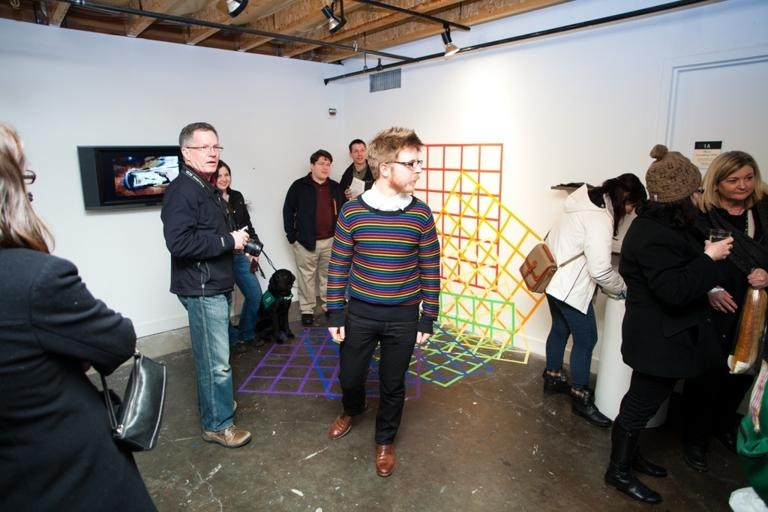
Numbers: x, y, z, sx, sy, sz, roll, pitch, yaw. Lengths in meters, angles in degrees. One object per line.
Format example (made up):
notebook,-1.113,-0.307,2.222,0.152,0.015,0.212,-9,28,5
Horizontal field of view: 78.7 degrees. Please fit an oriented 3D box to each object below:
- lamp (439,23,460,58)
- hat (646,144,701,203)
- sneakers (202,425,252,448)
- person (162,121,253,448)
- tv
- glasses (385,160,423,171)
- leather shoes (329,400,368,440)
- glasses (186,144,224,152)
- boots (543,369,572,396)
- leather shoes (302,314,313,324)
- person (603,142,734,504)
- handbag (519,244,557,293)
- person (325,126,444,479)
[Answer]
lamp,0.658,-2.145,4.677,0.147,0.362,0.642,0,14,9
hat,1.714,-0.460,2.790,0.268,0.288,0.154,8,17,34
sneakers,-1.181,1.361,3.495,0.295,0.141,0.156,2,10,-6
person,-1.251,0.250,3.396,0.557,2.342,0.433,-3,14,-5
tv,-2.514,-0.757,4.544,0.152,0.476,0.774,11,18,44
glasses,0.149,-0.580,3.025,0.244,0.066,0.096,-8,15,-24
leather shoes,-0.272,1.225,3.679,0.145,0.177,0.437,29,33,18
glasses,-1.258,-0.744,3.240,0.207,0.046,0.079,-8,16,-25
boots,1.528,1.096,4.082,0.306,0.223,0.117,-4,18,-15
leather shoes,-0.888,0.748,5.438,0.140,0.098,0.156,-4,14,-11
person,1.735,0.477,2.923,0.554,2.176,0.452,1,14,12
handbag,1.297,0.107,3.926,0.169,0.334,0.356,3,50,-6
person,0.006,0.340,3.139,0.775,2.314,0.435,-4,14,-8
